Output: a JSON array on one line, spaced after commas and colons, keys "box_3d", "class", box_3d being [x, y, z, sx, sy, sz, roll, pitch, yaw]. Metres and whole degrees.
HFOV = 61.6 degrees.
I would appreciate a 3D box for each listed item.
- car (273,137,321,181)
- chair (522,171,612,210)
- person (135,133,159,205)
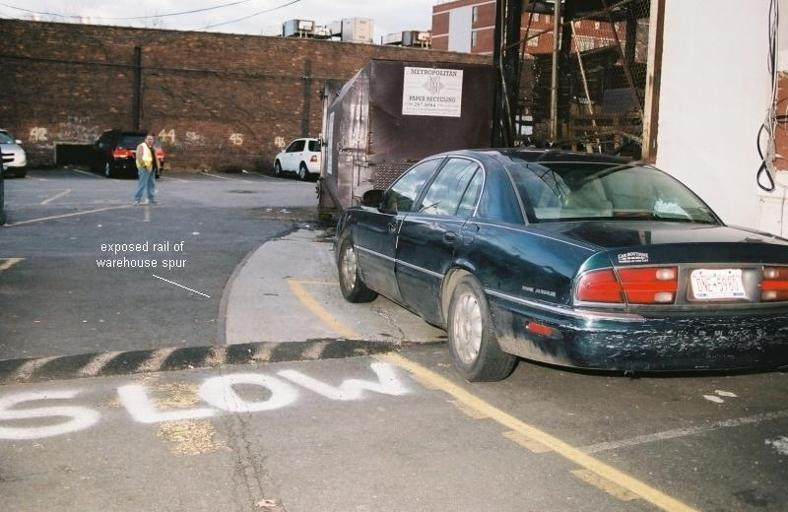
[{"box_3d": [-4.170, -4.548, 31.597, 2.298, 1.844, 4.503, -2, 14, -24], "class": "car"}, {"box_3d": [1.563, -0.580, 5.886, 0.408, 0.197, 0.661, 5, 14, 2], "class": "chair"}, {"box_3d": [-7.040, -2.478, 18.735, 0.616, 1.835, 1.433, -4, 15, -18], "class": "person"}]
